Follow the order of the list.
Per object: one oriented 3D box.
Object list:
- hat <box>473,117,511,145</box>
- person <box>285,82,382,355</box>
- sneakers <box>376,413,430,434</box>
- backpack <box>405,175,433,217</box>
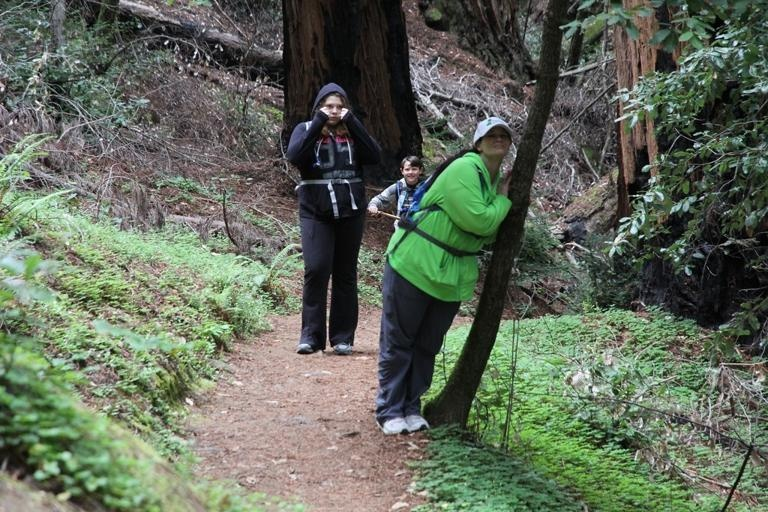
[{"bbox_3d":[0.976,-1.103,5.758,0.318,0.253,0.321,7,17,12],"label":"hat"},{"bbox_3d":[-0.654,-0.389,7.732,0.980,3.199,0.643,1,16,-9],"label":"person"},{"bbox_3d":[0.187,1.565,6.103,0.334,0.142,0.192,2,1,-7],"label":"sneakers"},{"bbox_3d":[0.330,-0.546,6.042,0.236,0.343,0.152,25,-3,27],"label":"backpack"}]
